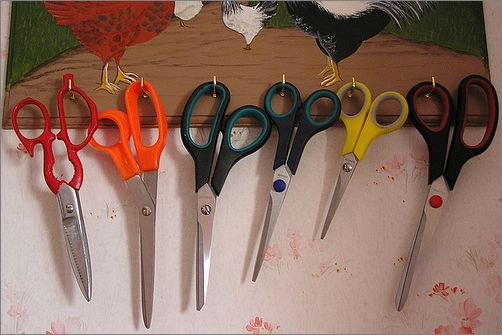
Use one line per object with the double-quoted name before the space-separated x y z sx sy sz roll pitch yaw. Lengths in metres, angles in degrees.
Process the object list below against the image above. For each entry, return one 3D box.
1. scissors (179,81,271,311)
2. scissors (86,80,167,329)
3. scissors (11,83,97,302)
"scissors" -0.079 0.060 1.371 0.192 0.541 0.163 2 4 -33
"scissors" -0.272 0.050 1.279 0.179 0.614 0.049 -2 -7 0
"scissors" -0.451 0.064 1.285 0.194 0.534 0.058 -12 -9 -4
